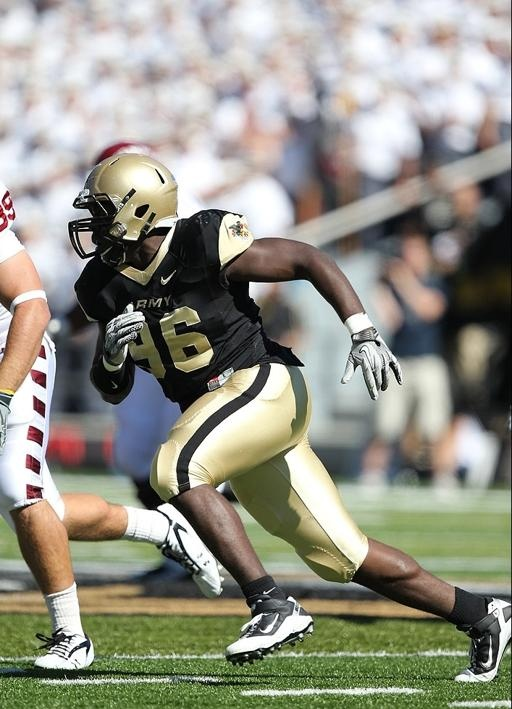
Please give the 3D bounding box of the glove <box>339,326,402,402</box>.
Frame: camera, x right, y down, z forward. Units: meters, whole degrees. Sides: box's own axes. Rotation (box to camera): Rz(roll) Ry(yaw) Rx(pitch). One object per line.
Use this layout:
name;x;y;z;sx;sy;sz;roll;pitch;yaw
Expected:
glove;0.231;0.025;1.835;0.139;0.153;0.067;-11;-6;-37

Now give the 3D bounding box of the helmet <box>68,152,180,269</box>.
helmet;-0.309;-0.357;2.088;0.308;0.238;0.211;3;6;10

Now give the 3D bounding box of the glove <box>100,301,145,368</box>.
glove;-0.306;-0.038;1.970;0.084;0.144;0.249;4;-4;-10

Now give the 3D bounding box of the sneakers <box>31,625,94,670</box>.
sneakers;-0.475;0.742;2.112;0.087;0.069;0.152;-4;-17;16

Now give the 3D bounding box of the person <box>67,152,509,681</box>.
person;0.053;0.131;1.943;1.045;1.247;0.565;4;-4;-6

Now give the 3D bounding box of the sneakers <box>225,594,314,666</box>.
sneakers;0.017;0.537;1.696;0.224;0.102;0.074;-9;-11;-43

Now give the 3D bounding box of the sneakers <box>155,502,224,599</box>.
sneakers;-0.182;0.619;2.610;0.182;0.126;0.398;27;-11;12
